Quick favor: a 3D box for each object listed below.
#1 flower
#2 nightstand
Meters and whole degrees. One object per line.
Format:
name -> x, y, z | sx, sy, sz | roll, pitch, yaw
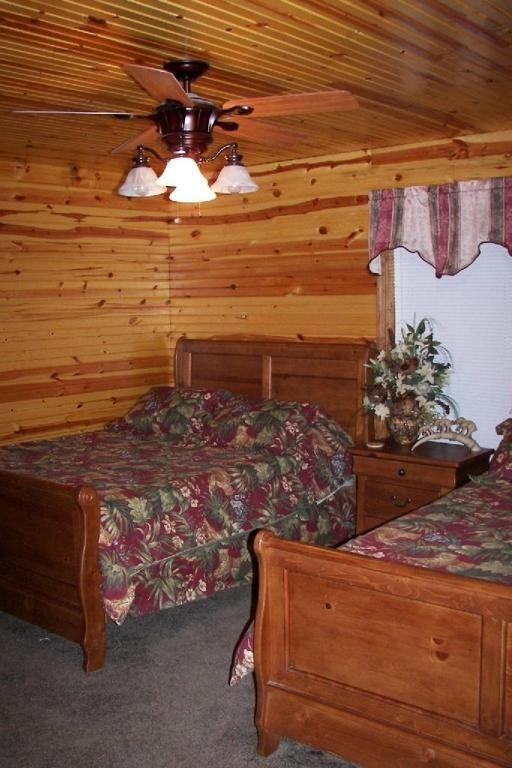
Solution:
flower -> 0.901, -0.039, 3.626 | 0.432, 0.478, 0.393 | 2, 1, 32
nightstand -> 0.900, 0.677, 3.559 | 0.600, 0.657, 0.535 | 9, 13, 37
